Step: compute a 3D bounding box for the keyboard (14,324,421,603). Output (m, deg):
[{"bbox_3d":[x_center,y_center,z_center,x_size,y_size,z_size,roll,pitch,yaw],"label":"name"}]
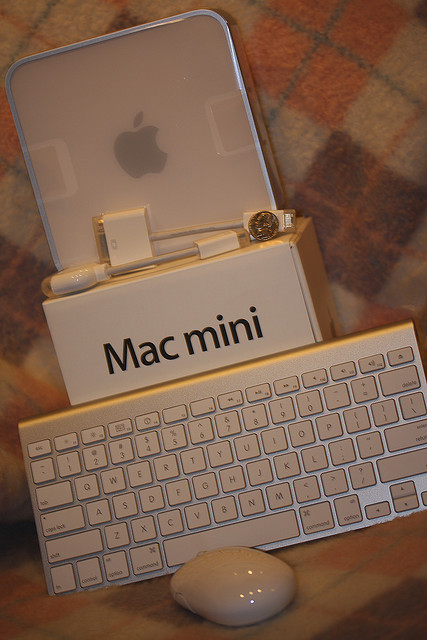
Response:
[{"bbox_3d":[0.013,0.138,0.589,0.419,0.185,0.155,-13,25,-6],"label":"keyboard"}]
